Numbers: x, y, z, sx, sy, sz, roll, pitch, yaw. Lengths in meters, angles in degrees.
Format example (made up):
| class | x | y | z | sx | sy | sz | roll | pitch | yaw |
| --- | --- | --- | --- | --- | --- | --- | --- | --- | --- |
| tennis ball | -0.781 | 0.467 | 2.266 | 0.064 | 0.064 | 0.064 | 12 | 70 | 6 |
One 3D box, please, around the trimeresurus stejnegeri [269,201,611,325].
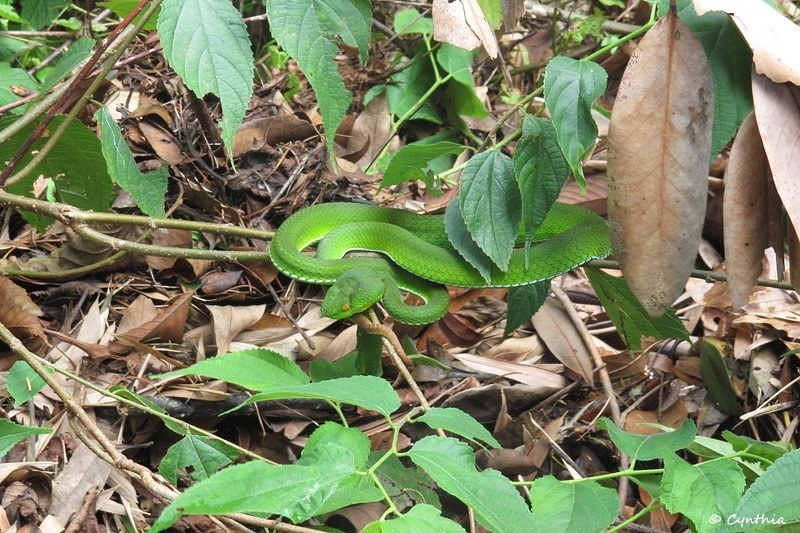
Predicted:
| class | x | y | z | sx | sy | sz | roll | pitch | yaw |
| --- | --- | --- | --- | --- | --- | --- | --- | --- | --- |
| trimeresurus stejnegeri | 0.166 | -0.065 | 3.592 | 1.190 | 0.237 | 0.768 | -3 | 11 | -10 |
